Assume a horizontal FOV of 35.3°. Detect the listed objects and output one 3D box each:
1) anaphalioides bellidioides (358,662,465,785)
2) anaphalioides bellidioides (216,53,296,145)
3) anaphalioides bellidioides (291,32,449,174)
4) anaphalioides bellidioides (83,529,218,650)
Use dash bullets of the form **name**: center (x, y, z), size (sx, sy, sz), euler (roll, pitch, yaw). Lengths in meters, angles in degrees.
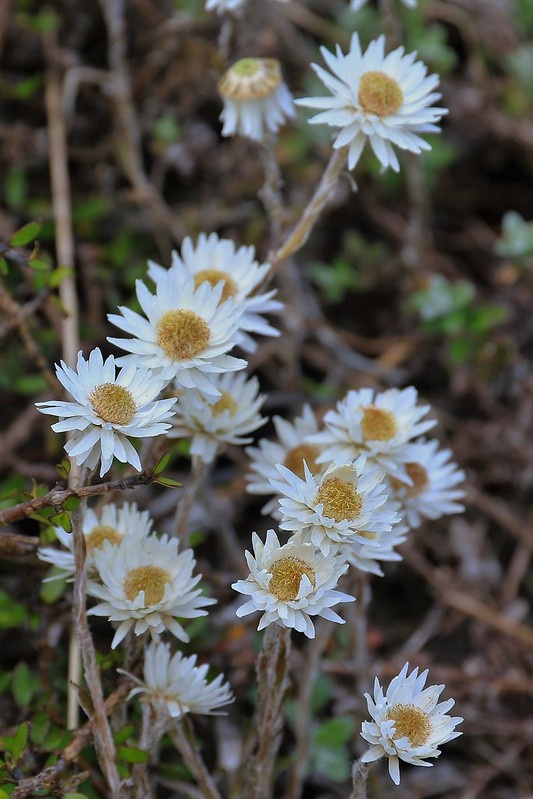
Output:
- **anaphalioides bellidioides**: center (0.160, 0.368, 0.949), size (0.124, 0.112, 0.048), euler (1, 103, 7)
- **anaphalioides bellidioides**: center (-0.013, -0.465, 1.327), size (0.120, 0.089, 0.134), euler (-2, 75, -2)
- **anaphalioides bellidioides**: center (0.149, -0.425, 1.130), size (0.187, 0.190, 0.060), euler (-2, 94, -30)
- **anaphalioides bellidioides**: center (-0.152, 0.233, 1.047), size (0.143, 0.142, 0.053), euler (-1, 100, -24)
